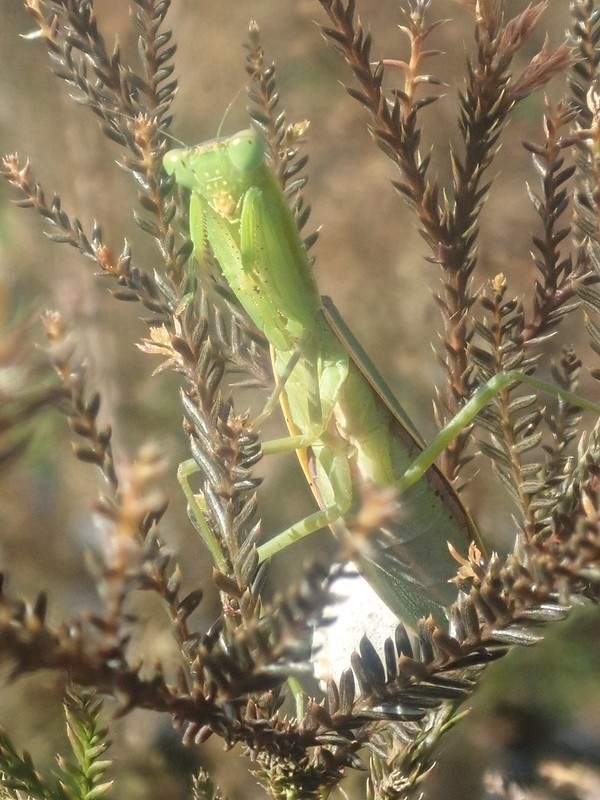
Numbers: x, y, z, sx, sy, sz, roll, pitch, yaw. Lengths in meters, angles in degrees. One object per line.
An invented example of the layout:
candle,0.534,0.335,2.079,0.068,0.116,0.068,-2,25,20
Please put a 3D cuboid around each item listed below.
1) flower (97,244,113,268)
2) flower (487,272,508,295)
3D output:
flower,-0.218,-0.164,1.332,0.018,0.024,0.010,-12,10,12
flower,0.237,-0.138,1.388,0.025,0.031,0.011,11,-33,3
